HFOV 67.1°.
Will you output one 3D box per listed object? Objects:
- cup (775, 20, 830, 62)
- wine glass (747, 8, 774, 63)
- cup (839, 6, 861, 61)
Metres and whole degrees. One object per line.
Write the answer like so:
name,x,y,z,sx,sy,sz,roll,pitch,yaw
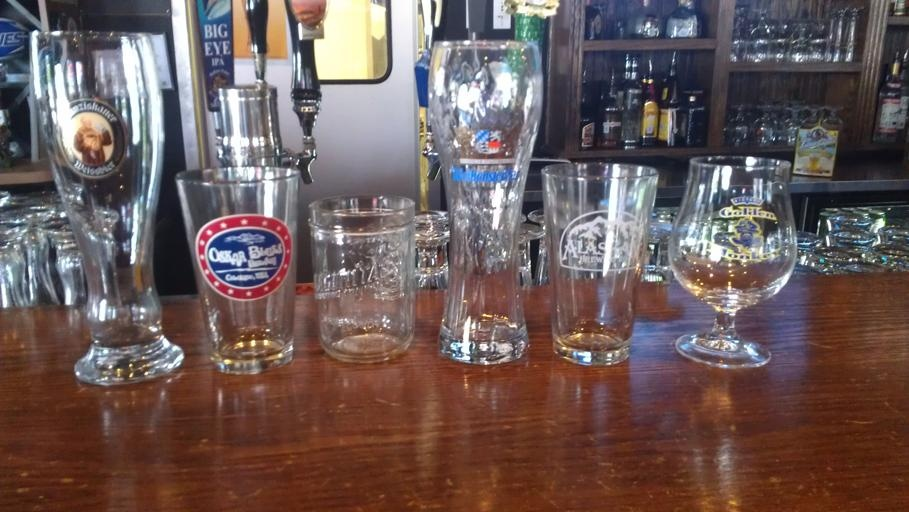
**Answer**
cup,1.569,-0.958,3.143,0.253,0.206,0.202,-1,7,-7
wine glass,1.366,-0.987,3.077,0.091,0.222,0.204,7,18,28
cup,1.779,-0.998,3.091,0.065,0.217,0.039,4,17,17
